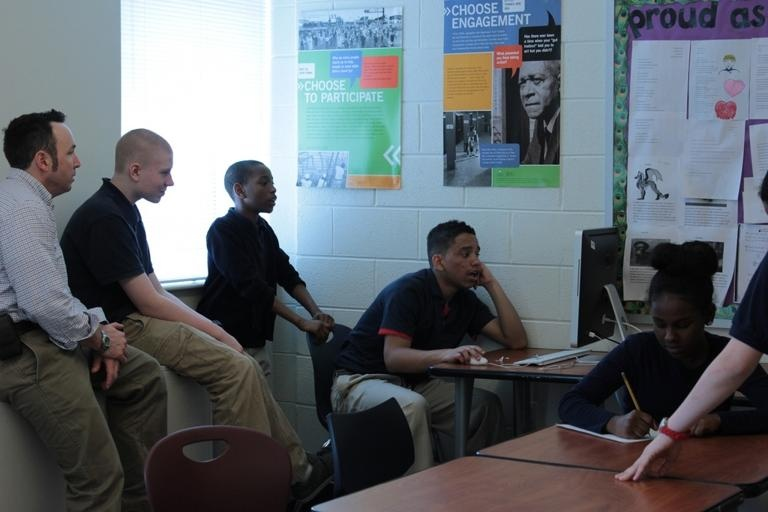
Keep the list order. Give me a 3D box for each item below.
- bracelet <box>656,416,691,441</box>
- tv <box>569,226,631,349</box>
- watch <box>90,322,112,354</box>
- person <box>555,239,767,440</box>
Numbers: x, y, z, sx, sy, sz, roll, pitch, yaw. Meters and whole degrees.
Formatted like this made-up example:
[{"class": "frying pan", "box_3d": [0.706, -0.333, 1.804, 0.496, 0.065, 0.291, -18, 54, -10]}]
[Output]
[{"class": "bracelet", "box_3d": [0.938, 0.570, 1.914, 0.084, 0.036, 0.095, 6, -6, 8]}, {"class": "tv", "box_3d": [1.162, 0.163, 3.113, 0.221, 0.666, 0.659, 5, 5, 29]}, {"class": "watch", "box_3d": [-1.280, 0.377, 2.679, 0.072, 0.106, 0.116, 11, 51, -15]}, {"class": "person", "box_3d": [1.104, 0.357, 2.471, 0.990, 0.870, 0.680, -1, -2, 38]}]
